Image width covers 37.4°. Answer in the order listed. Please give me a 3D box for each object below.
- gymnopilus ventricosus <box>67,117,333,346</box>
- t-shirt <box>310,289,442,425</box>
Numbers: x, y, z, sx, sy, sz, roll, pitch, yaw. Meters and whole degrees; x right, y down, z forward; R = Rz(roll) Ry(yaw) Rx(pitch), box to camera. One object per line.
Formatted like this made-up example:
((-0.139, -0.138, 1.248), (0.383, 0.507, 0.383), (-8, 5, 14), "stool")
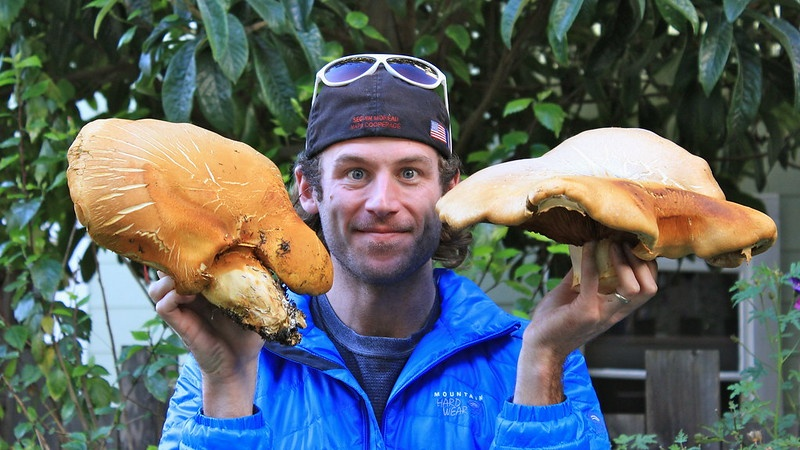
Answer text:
((-1.322, -0.108, 7.894), (1.929, 1.228, 0.496), (36, -40, 5), "gymnopilus ventricosus")
((-0.240, 0.976, 8.634), (0.693, 0.929, 0.677), (0, -18, -4), "t-shirt")
